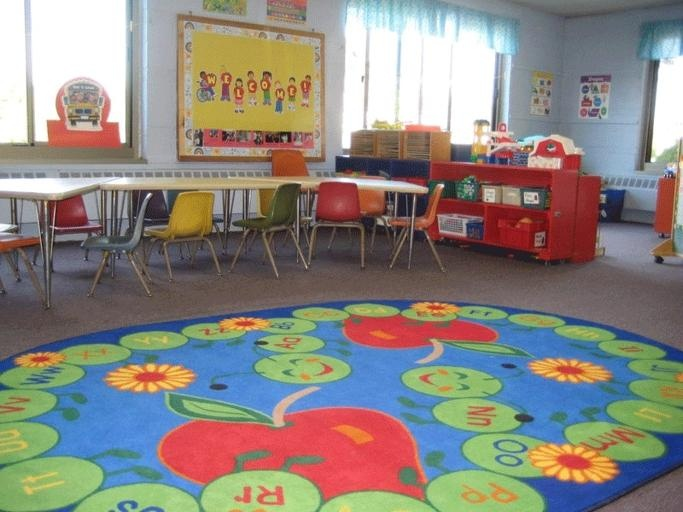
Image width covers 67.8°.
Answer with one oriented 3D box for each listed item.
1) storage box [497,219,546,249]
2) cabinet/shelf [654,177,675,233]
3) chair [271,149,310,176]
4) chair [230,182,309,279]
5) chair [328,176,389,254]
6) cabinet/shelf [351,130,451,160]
[{"bbox_3d":[2.133,-0.268,6.058,0.446,0.235,0.407,-3,16,-17],"label":"storage box"},{"bbox_3d":[4.744,-0.726,7.431,0.265,0.830,0.268,11,21,27],"label":"cabinet/shelf"},{"bbox_3d":[-0.774,-1.335,7.308,0.446,0.513,0.465,-4,15,-20],"label":"chair"},{"bbox_3d":[-0.791,-0.396,5.638,0.769,0.993,1.879,-1,17,-8],"label":"chair"},{"bbox_3d":[0.382,-0.567,6.232,0.867,1.140,0.924,3,0,3],"label":"chair"},{"bbox_3d":[0.834,-1.629,7.489,1.567,0.430,0.431,16,22,41],"label":"cabinet/shelf"}]
